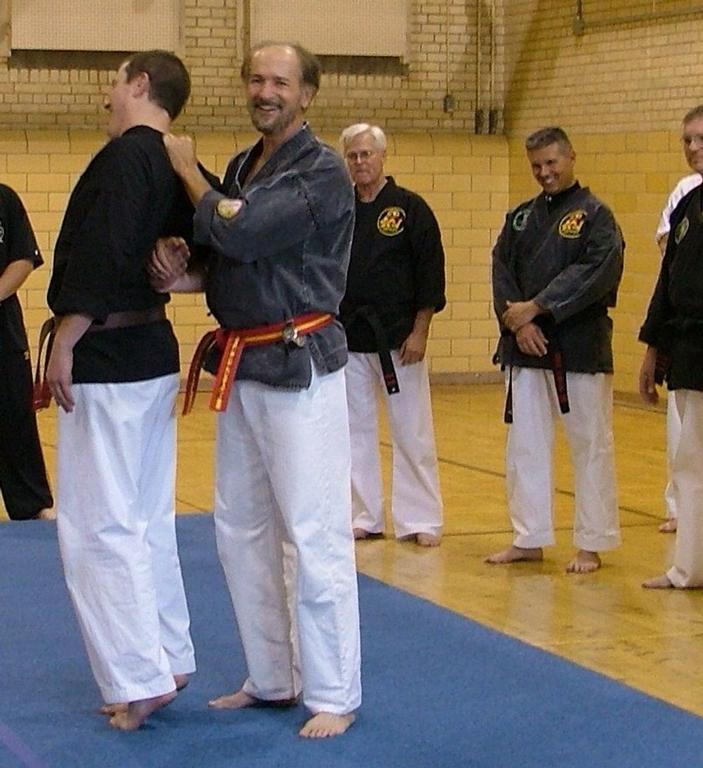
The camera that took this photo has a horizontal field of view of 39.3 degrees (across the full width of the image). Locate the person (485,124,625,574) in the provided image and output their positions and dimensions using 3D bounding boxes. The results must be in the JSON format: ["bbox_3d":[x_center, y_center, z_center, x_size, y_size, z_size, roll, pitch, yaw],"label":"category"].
[{"bbox_3d":[0.857,-0.148,4.133,0.582,1.809,0.424,3,5,15],"label":"person"}]

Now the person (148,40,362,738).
[{"bbox_3d":[-0.218,0.020,2.412,0.528,1.664,0.422,2,5,1],"label":"person"}]
